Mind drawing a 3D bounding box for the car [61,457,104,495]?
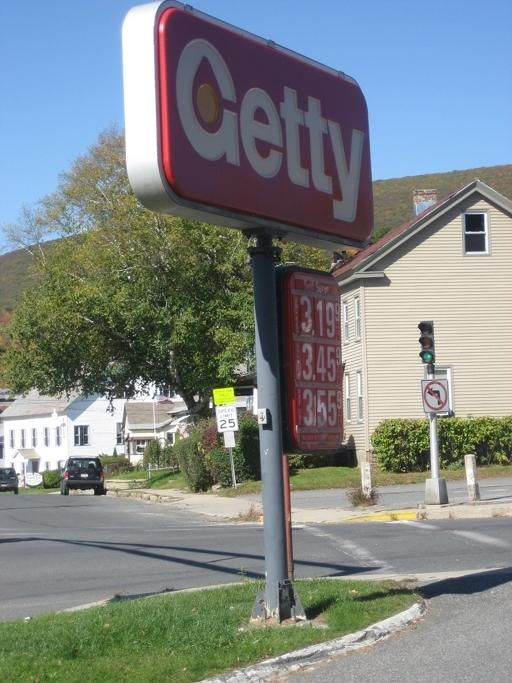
[{"bbox_3d":[-7.679,5.836,37.257,1.164,1.187,2.226,0,-1,-9],"label":"car"}]

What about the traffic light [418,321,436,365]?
[{"bbox_3d":[3.520,0.007,17.495,0.291,0.945,0.522,-5,-6,9],"label":"traffic light"}]
